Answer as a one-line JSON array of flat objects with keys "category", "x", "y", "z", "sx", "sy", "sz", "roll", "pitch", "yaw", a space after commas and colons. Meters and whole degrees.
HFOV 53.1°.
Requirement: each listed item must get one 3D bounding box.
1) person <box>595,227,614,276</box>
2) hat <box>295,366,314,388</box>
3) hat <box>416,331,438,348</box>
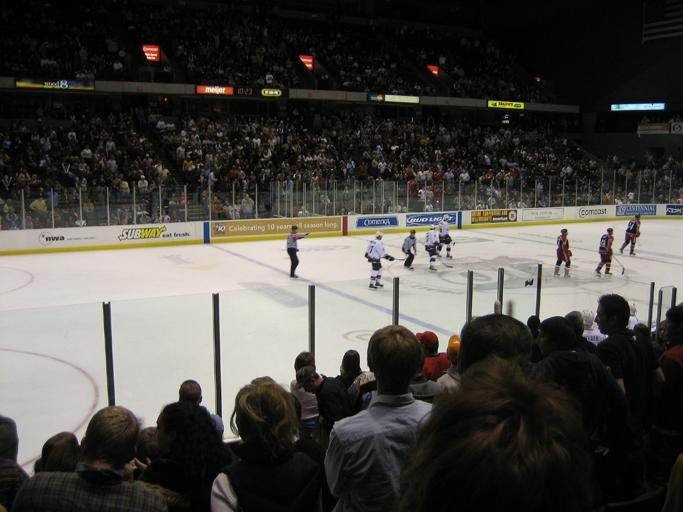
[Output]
[{"category": "person", "x": 7.012, "y": -0.131, "z": 18.251, "sx": 0.400, "sy": 1.202, "sz": 1.697, "roll": 3, "pitch": 5, "yaw": 20}, {"category": "hat", "x": -0.340, "y": 1.121, "z": 6.257, "sx": 0.129, "sy": 0.165, "sz": 0.187, "roll": 1, "pitch": -9, "yaw": 2}, {"category": "hat", "x": 0.842, "y": 0.808, "z": 6.723, "sx": 0.161, "sy": 0.096, "sz": 0.277, "roll": 2, "pitch": 5, "yaw": -2}]
